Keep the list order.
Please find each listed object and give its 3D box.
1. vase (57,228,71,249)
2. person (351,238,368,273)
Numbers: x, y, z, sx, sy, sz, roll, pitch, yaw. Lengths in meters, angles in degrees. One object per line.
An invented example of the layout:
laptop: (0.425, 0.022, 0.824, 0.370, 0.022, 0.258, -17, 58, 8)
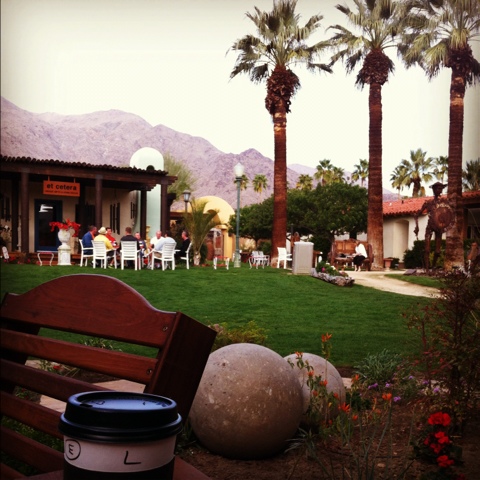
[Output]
vase: (-6.030, -0.049, 19.036, 0.375, 0.711, 1.254, 2, 0, -21)
person: (5.542, 0.685, 25.504, 0.681, 1.126, 2.543, 1, -1, 13)
